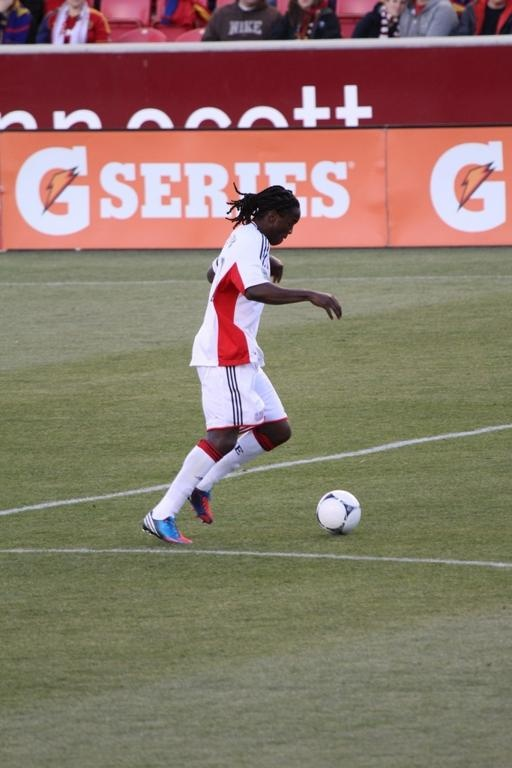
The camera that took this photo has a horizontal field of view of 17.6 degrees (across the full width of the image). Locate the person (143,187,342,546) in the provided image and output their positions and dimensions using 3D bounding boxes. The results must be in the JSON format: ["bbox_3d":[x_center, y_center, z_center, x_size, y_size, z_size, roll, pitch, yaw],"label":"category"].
[{"bbox_3d":[-0.072,-0.088,6.724,0.763,1.408,0.620,0,12,2],"label":"person"}]

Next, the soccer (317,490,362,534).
[{"bbox_3d":[0.336,0.521,6.767,0.173,0.174,0.170,0,55,-2],"label":"soccer"}]

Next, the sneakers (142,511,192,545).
[{"bbox_3d":[-0.355,0.568,6.643,0.192,0.136,0.169,-2,12,-4],"label":"sneakers"}]
